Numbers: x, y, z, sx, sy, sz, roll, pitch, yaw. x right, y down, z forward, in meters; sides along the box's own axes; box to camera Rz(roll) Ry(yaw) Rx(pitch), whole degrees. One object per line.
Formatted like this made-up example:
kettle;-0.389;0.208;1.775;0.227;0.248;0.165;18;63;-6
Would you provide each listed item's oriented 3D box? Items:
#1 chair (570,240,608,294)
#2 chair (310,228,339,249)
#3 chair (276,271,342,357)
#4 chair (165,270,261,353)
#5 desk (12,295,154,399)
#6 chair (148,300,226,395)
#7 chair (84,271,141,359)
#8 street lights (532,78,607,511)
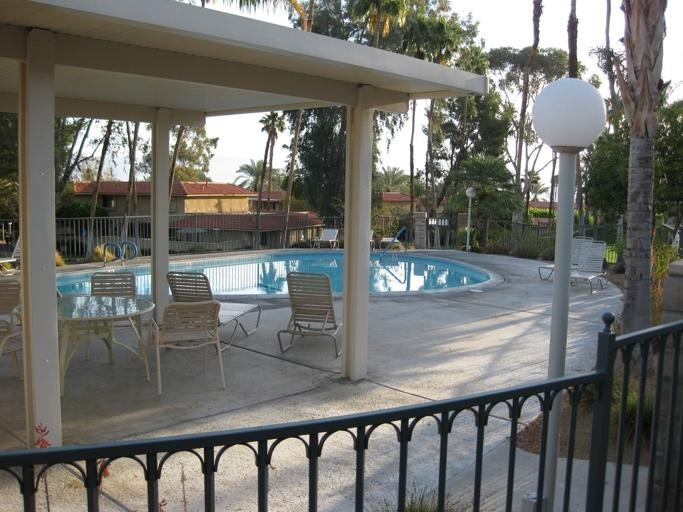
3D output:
chair;5.632;0.235;14.508;0.841;1.171;1.578;4;1;25
chair;-0.580;-0.643;24.345;0.654;0.787;0.941;2;4;21
chair;-0.296;0.648;8.302;0.830;1.088;1.369;1;10;4
chair;-1.672;0.624;8.220;0.677;1.091;1.296;2;9;21
desk;-2.721;0.853;7.213;0.999;0.860;2.237;-2;8;-21
chair;-1.700;0.838;6.852;0.704;1.200;0.823;-5;25;-28
chair;-2.731;0.698;7.459;0.548;1.087;0.641;0;-1;-26
street lights;1.549;-0.183;4.305;0.481;2.052;0.482;0;7;-5
